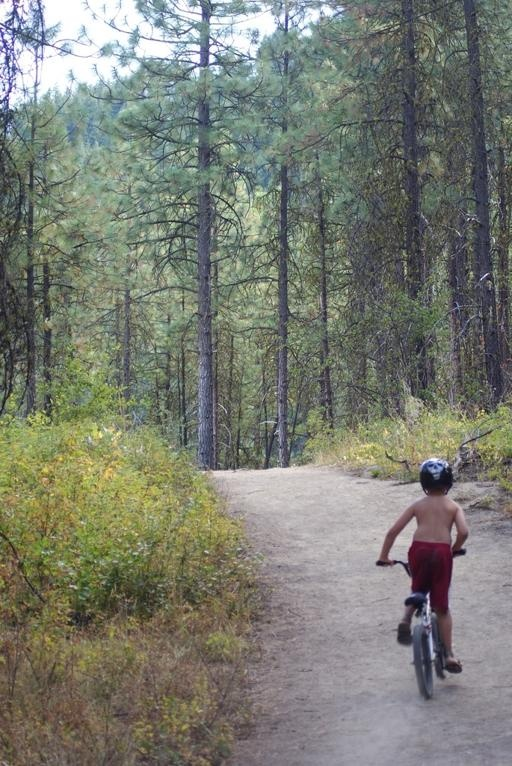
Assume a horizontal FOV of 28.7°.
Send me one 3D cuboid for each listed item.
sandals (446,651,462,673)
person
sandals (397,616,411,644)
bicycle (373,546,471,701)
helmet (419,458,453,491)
[{"bbox_3d":[1.358,1.907,6.826,0.063,0.092,0.220,2,6,3],"label":"sandals"},{"bbox_3d":[1.185,1.240,7.038,0.613,1.524,0.499,3,6,20],"label":"person"},{"bbox_3d":[1.093,1.845,7.400,0.083,0.262,0.114,1,16,6],"label":"sandals"},{"bbox_3d":[1.142,1.802,6.846,0.511,0.652,1.013,-8,-22,7],"label":"bicycle"},{"bbox_3d":[1.285,0.650,7.077,0.175,0.244,0.240,-2,-9,18],"label":"helmet"}]
